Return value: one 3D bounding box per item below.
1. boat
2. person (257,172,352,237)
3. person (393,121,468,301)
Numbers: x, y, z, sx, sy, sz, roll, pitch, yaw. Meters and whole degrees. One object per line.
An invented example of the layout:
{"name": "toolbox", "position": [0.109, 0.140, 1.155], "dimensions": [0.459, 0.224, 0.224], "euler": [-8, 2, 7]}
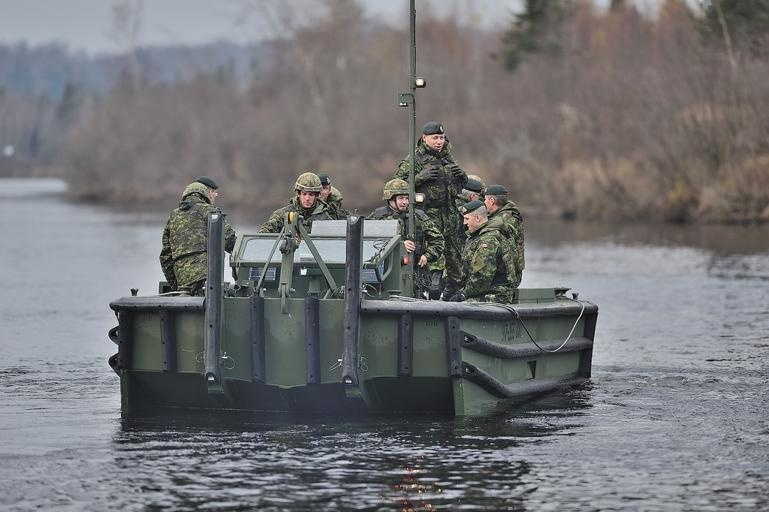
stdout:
{"name": "boat", "position": [-0.468, -0.542, 23.229], "dimensions": [6.186, 5.212, 2.551], "euler": [-1, 3, -9]}
{"name": "person", "position": [-0.981, -0.563, 23.098], "dimensions": [1.626, 0.658, 0.498], "euler": [-3, -2, -21]}
{"name": "person", "position": [0.817, -0.643, 25.752], "dimensions": [1.089, 2.436, 0.922], "euler": [-8, 5, -35]}
